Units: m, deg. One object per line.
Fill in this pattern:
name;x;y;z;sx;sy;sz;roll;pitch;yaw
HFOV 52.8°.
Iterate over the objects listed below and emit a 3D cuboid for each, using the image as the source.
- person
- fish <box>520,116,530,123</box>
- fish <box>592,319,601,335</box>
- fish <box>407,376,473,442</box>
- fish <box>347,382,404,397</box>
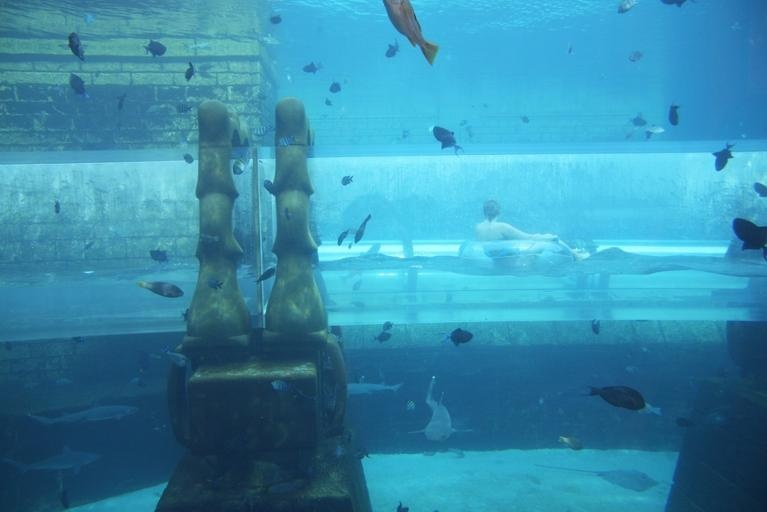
person;2.128;-0.471;12.041;1.585;0.802;1.110;-3;5;-31
fish;2.089;-2.076;11.332;0.099;0.097;0.025;1;1;2
fish;3.247;1.116;11.773;0.065;0.290;0.290;3;6;36
fish;0.905;2.648;12.473;1.360;0.959;0.090;-7;6;32
fish;-0.138;2.232;12.469;0.865;0.265;0.155;-1;7;-5
